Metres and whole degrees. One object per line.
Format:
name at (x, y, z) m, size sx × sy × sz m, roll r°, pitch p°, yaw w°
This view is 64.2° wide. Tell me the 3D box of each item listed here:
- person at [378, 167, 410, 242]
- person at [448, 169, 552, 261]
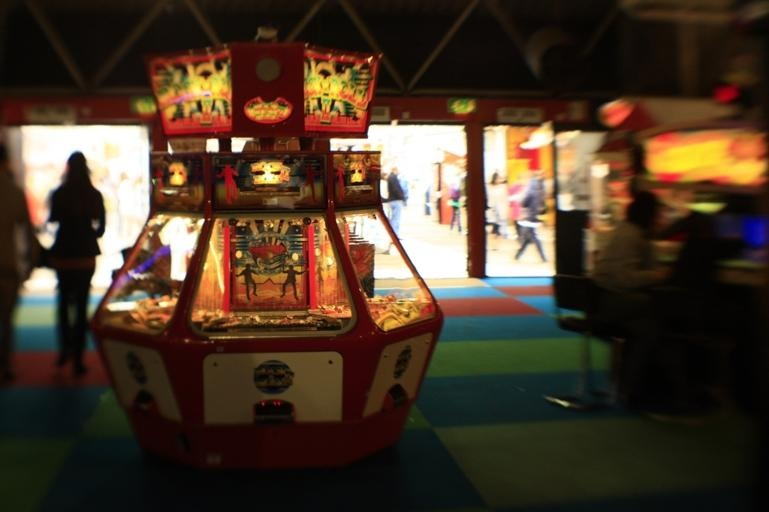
person at (0.215, -1.013, 11.220) m, size 0.471 × 1.257 × 0.785 m, roll -2°, pitch 10°, yaw 3°
person at (2.087, -0.770, 10.931) m, size 1.695 × 2.360 × 0.431 m, roll 4°, pitch 26°, yaw 17°
